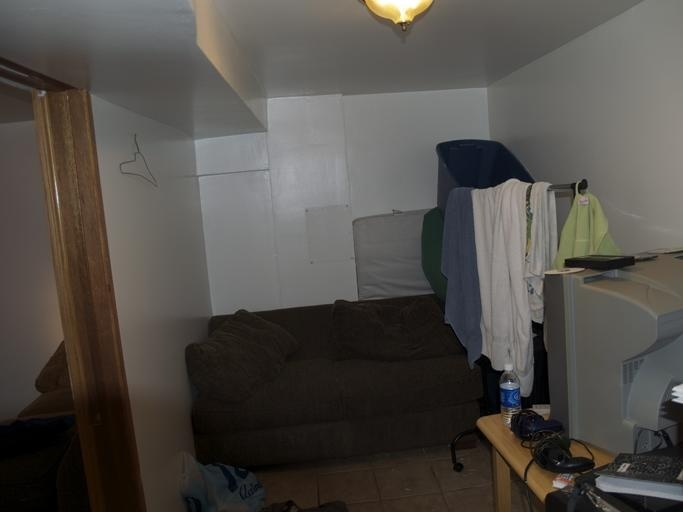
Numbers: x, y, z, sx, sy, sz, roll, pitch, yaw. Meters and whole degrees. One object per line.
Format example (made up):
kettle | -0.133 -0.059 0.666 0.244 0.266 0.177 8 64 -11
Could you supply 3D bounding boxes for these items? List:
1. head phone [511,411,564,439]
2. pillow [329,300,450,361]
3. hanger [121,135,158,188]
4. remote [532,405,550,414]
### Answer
head phone | 0.750 0.648 2.130 0.131 0.065 0.103 -3 14 37
pillow | 0.337 0.503 3.622 0.461 0.149 0.459 -2 10 -9
hanger | -1.115 -0.497 2.976 0.097 0.194 0.185 -34 20 -37
remote | 0.837 0.649 2.321 0.083 0.021 0.087 -1 -1 3
